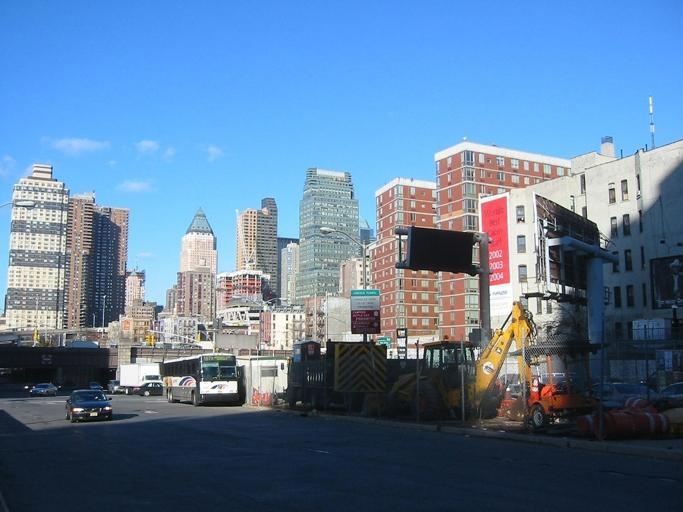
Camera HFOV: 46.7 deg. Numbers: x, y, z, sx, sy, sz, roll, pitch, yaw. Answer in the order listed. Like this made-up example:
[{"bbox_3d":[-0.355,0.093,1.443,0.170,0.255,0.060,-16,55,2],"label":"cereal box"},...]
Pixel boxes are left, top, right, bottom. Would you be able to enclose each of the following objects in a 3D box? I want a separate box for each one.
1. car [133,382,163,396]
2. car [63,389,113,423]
[{"bbox_3d":[-19.015,13.244,78.158,2.531,0.873,1.200,-3,4,-9],"label":"car"},{"bbox_3d":[-13.057,7.736,40.938,1.940,1.652,2.297,6,-13,-27],"label":"car"}]
